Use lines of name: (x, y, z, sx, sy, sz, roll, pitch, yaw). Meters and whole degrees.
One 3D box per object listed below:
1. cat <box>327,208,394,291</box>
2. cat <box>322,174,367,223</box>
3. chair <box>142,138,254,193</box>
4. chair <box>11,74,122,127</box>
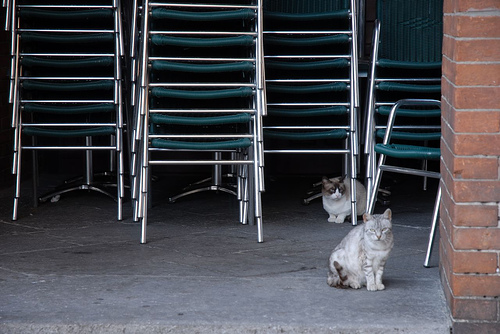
cat: (0.644, 0.504, 3.877, 0.457, 0.437, 0.445, 3, -5, -31)
cat: (0.795, 0.250, 5.526, 0.390, 0.351, 0.528, 5, 8, 32)
chair: (-0.385, -0.039, 4.891, 0.832, 0.303, 0.435, 2, 10, -1)
chair: (-1.602, -0.658, 5.457, 0.960, 0.496, 0.510, 1, 44, -8)
